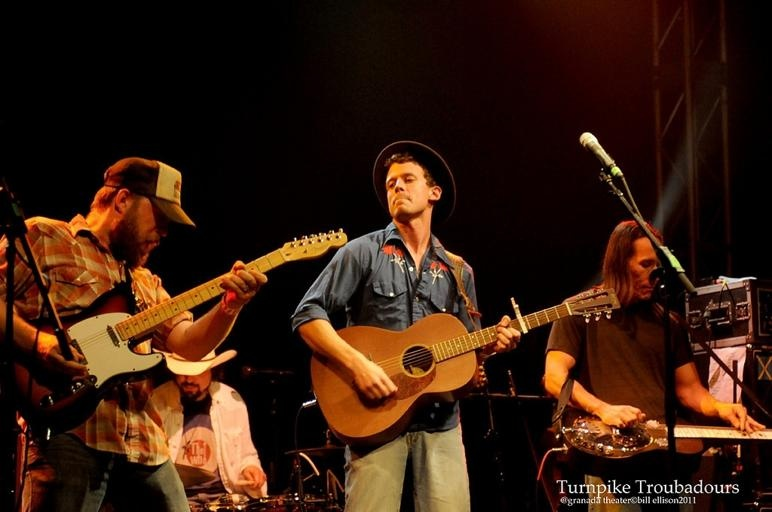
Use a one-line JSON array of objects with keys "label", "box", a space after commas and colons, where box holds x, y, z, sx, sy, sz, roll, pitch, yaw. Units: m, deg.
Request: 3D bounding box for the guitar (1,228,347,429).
[{"label": "guitar", "box": [-2.001, 0.627, 6.809, 2.405, 0.913, 0.277, -31, -8, -27]}]

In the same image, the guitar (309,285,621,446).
[{"label": "guitar", "box": [0.581, 0.878, 6.309, 2.325, 1.078, 0.361, -20, -10, -10]}]
